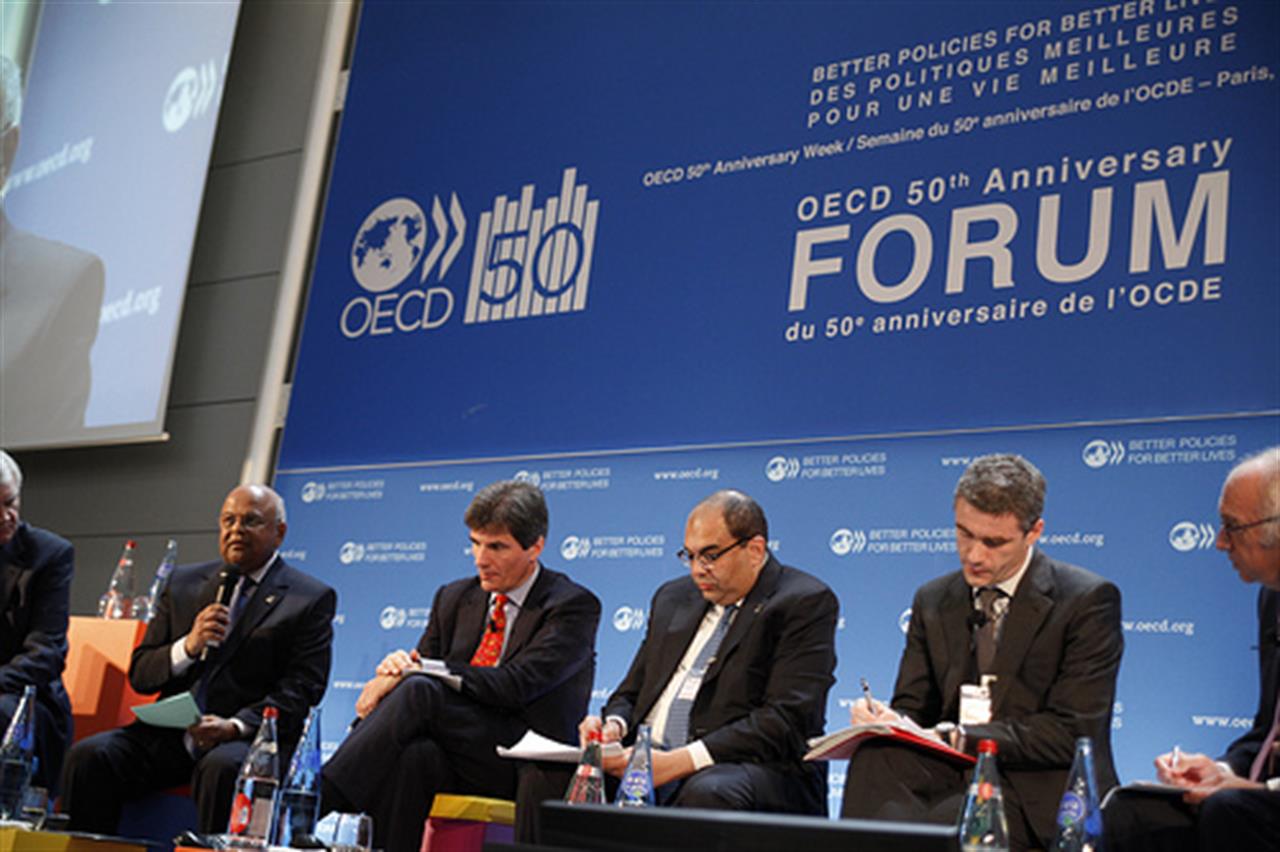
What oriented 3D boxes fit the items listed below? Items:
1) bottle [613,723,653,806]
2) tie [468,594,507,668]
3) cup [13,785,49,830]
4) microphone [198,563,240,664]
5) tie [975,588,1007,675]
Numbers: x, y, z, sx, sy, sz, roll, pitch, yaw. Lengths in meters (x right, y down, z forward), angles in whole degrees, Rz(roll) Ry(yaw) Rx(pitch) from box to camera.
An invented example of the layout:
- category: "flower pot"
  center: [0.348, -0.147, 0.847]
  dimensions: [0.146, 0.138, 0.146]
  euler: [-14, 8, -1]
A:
- category: "bottle"
  center: [-0.009, 1.059, 3.232]
  dimensions: [0.097, 0.228, 0.230]
  euler: [5, -15, -1]
- category: "tie"
  center: [-0.652, 0.933, 4.605]
  dimensions: [0.090, 0.377, 0.065]
  euler: [-2, -45, 19]
- category: "cup"
  center: [-2.096, 1.332, 3.590]
  dimensions: [0.100, 0.166, 0.100]
  euler: [0, -7, 0]
- category: "microphone"
  center: [-1.951, 0.898, 4.935]
  dimensions: [0.113, 0.527, 0.100]
  euler: [19, -10, -12]
- category: "tie"
  center: [1.275, 0.758, 3.786]
  dimensions: [0.112, 0.315, 0.057]
  euler: [-1, -14, 21]
